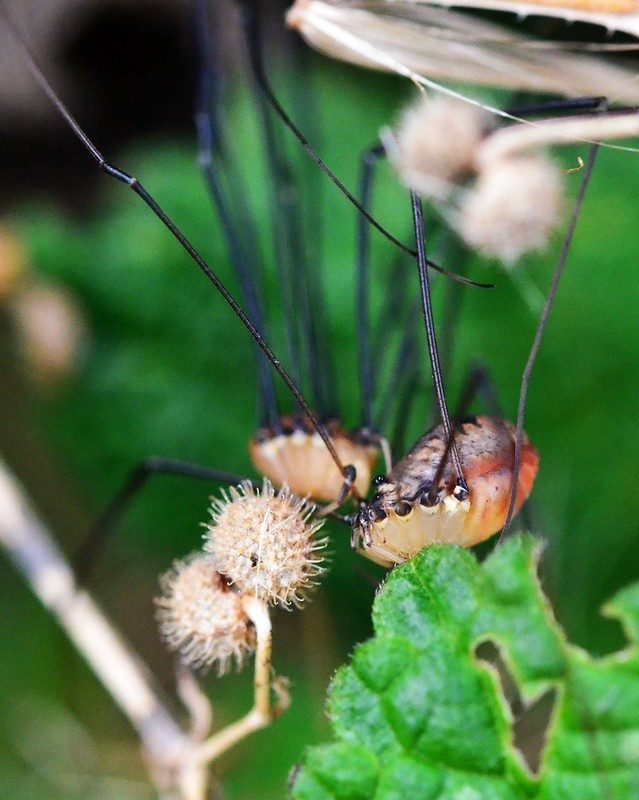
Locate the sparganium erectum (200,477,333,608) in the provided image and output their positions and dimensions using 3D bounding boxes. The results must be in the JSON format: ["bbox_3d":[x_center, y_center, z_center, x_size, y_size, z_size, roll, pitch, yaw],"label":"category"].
[{"bbox_3d":[-0.049,0.138,0.831,0.117,0.114,0.149,9,54,12],"label":"sparganium erectum"}]

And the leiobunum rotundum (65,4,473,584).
[{"bbox_3d":[0.057,0.059,0.981,0.376,0.902,0.263,6,22,26],"label":"leiobunum rotundum"}]
